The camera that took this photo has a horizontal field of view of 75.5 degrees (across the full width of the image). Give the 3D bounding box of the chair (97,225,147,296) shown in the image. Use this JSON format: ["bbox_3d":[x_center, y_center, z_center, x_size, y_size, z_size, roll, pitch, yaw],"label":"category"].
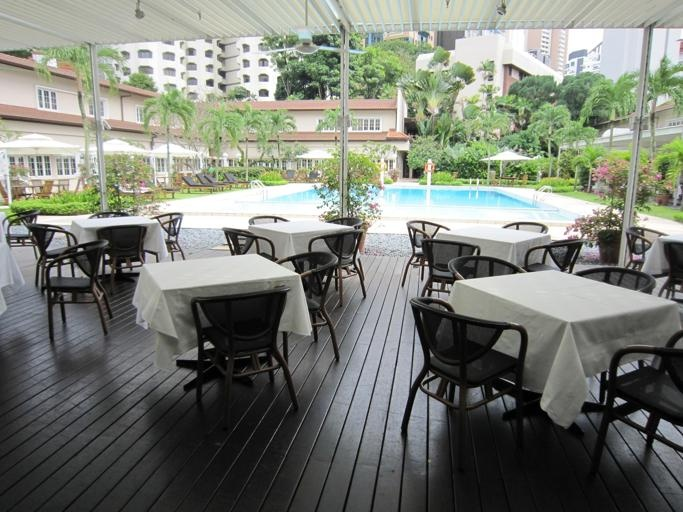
[{"bbox_3d":[-2.598,0.036,5.249,0.614,0.790,0.548,-6,31,-25],"label":"chair"}]

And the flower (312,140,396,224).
[{"bbox_3d":[0.170,-1.234,7.782,1.071,1.346,1.248,-2,12,5],"label":"flower"}]
